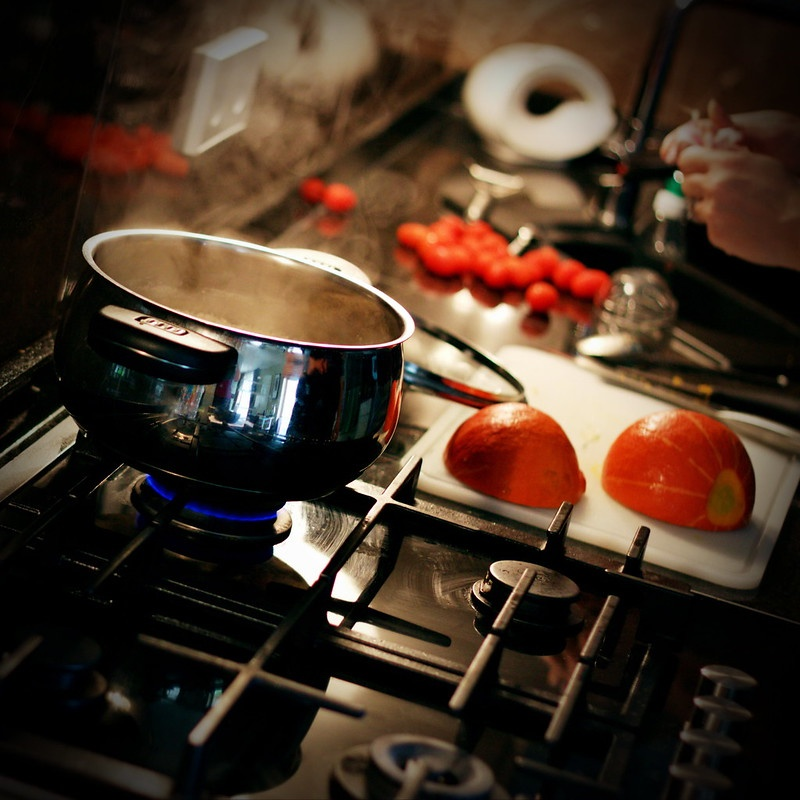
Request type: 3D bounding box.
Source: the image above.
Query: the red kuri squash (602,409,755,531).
[{"bbox_3d":[0.254,0.052,0.704,0.165,0.076,0.139,1,18,4],"label":"red kuri squash"}]

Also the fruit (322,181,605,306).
[{"bbox_3d":[0.078,-0.235,1.200,0.158,0.074,0.440,21,-3,-40],"label":"fruit"}]

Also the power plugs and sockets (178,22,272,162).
[{"bbox_3d":[-0.162,-0.278,0.717,0.062,0.117,0.076,12,12,-15],"label":"power plugs and sockets"}]
